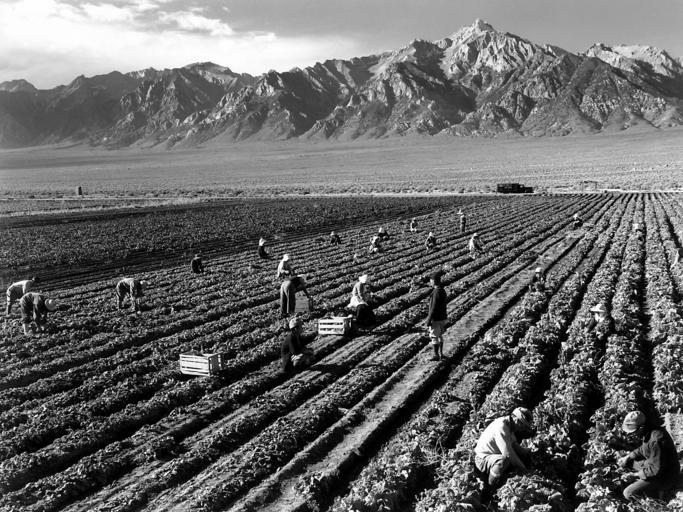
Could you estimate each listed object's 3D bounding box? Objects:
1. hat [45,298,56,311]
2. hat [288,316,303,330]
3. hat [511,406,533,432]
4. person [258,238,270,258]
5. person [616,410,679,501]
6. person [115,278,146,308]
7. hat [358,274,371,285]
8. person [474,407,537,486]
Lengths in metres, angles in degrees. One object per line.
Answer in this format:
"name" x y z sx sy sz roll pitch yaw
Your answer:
"hat" -11.937 1.992 21.759 0.314 0.523 0.761 -7 15 -25
"hat" -1.556 2.216 17.546 0.538 0.304 0.778 -4 -3 -5
"hat" 3.851 3.536 11.432 0.408 0.593 0.367 -1 12 1
"person" -5.638 -0.549 38.442 0.951 1.044 2.083 9 -4 -1
"person" 6.327 4.207 11.044 0.832 1.575 1.018 -16 15 38
"person" -9.884 1.507 24.739 1.346 0.982 0.428 3 18 10
"hat" 0.947 0.977 22.449 0.540 0.187 0.585 2 14 18
"person" 3.451 4.096 11.396 1.083 1.653 0.564 -1 12 -1
